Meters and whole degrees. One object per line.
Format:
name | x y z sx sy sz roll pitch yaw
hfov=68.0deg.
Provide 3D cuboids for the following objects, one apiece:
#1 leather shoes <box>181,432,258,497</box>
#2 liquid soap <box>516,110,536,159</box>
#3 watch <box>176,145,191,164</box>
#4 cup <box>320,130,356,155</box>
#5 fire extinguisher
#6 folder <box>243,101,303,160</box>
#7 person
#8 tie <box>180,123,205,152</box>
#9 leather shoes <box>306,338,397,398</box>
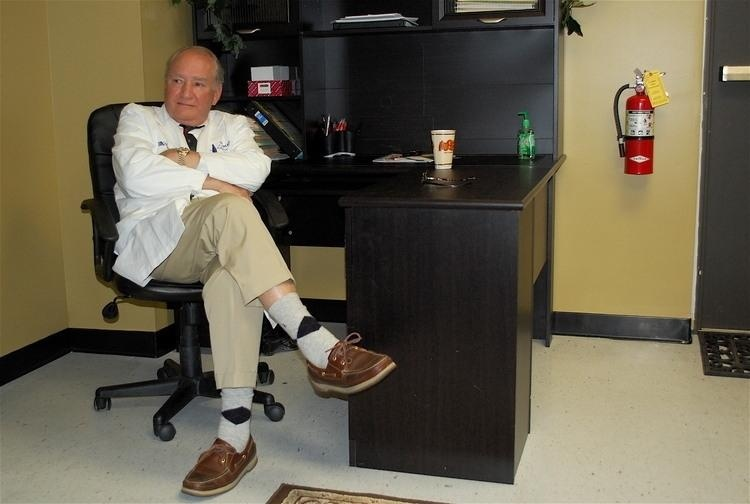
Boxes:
leather shoes | -0.599 0.827 2.233 0.131 0.133 0.323 7 10 26
liquid soap | 0.892 -0.692 3.270 0.110 0.255 0.319 2 18 14
watch | -0.842 -0.425 2.445 0.052 0.074 0.078 13 0 -11
cup | -0.224 -0.698 3.550 0.174 0.121 0.172 -2 6 0
fire extinguisher | 1.520 -0.755 3.225 0.189 0.575 0.209 -12 20 -26
folder | -0.590 -0.753 3.521 0.397 0.092 0.366 44 7 5
person | -0.584 -0.052 2.434 1.247 1.910 0.946 -2 21 -19
tie | -0.870 -0.548 2.644 0.140 0.135 0.035 -5 -6 -13
leather shoes | -0.128 0.456 2.201 0.345 0.154 0.187 -8 34 32
